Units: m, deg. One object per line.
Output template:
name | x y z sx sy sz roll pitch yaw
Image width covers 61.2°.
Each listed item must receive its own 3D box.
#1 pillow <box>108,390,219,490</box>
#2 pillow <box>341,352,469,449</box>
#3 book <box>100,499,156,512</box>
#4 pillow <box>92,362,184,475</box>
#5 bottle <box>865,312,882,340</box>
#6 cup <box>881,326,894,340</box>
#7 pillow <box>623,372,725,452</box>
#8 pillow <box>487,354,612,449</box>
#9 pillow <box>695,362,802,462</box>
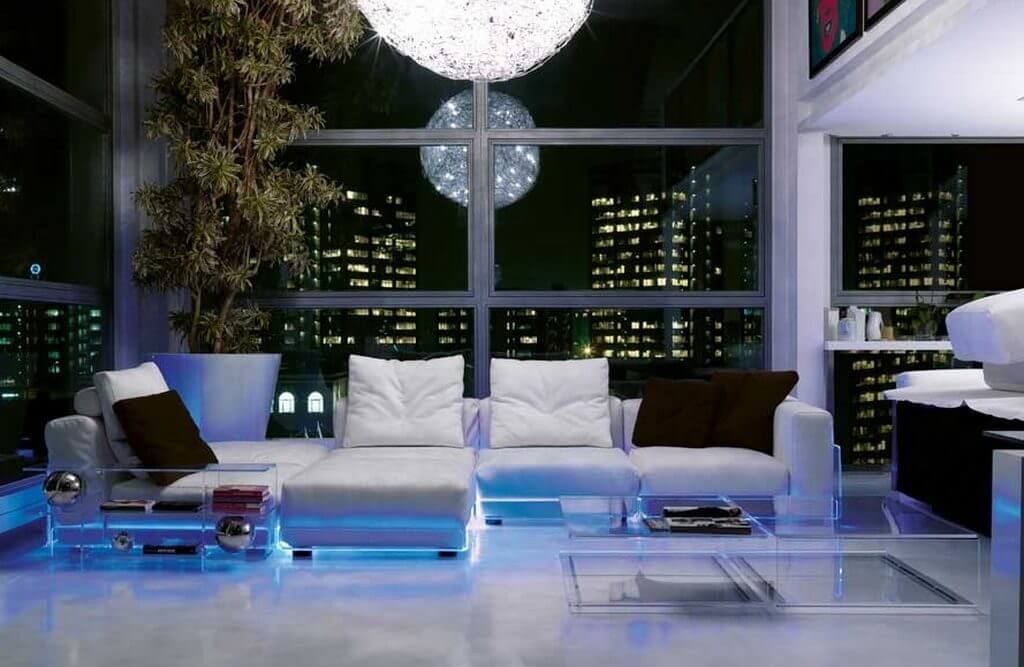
pillow | -2.298 0.657 5.837 0.529 0.465 0.476 -6 7 -42
pillow | -0.809 0.528 6.727 0.923 0.744 0.335 0 -3 -7
book | -2.450 1.125 5.655 0.351 0.063 0.085 -1 6 2
pillow | -2.537 0.520 5.888 0.176 0.610 0.590 -20 -11 19
bottle | 3.217 -0.084 7.711 0.125 0.242 0.445 1 6 23
cup | 3.326 -0.013 7.694 0.098 0.116 0.102 0 -6 0
pillow | 1.245 0.595 6.538 0.529 0.534 0.164 8 -7 23
pillow | 0.310 0.546 6.759 0.943 0.717 0.336 0 -3 -2
pillow | 1.766 0.591 6.486 0.593 0.638 0.229 5 -7 13
